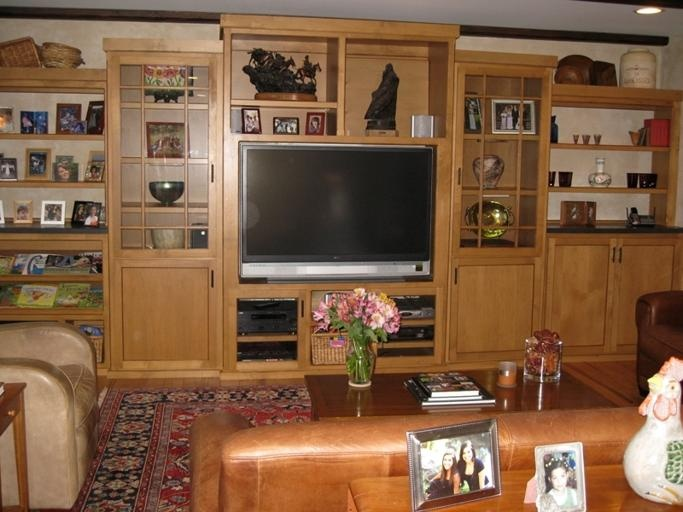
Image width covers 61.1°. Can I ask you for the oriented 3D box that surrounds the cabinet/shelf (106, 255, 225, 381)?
[{"bbox_3d":[-1.341,0.428,4.349,1.121,1.042,0.401,0,6,-3],"label":"cabinet/shelf"}]

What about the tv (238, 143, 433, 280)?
[{"bbox_3d":[-0.100,-0.376,4.396,1.277,0.702,0.046,0,8,-6],"label":"tv"}]

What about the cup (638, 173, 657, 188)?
[{"bbox_3d":[2.654,-0.658,5.019,0.132,0.097,0.141,2,5,0],"label":"cup"}]

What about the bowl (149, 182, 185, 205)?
[{"bbox_3d":[-1.316,-0.479,4.372,0.226,0.124,0.205,0,6,-6],"label":"bowl"}]

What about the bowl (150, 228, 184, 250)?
[{"bbox_3d":[-1.309,-0.125,4.381,0.218,0.125,0.175,1,1,-18],"label":"bowl"}]

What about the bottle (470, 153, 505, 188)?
[{"bbox_3d":[1.163,-0.674,4.640,0.282,0.229,0.276,-10,14,-42],"label":"bottle"}]

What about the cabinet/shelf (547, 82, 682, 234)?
[{"bbox_3d":[2.374,-0.889,5.074,1.653,1.313,0.437,0,19,4],"label":"cabinet/shelf"}]

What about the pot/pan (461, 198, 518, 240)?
[{"bbox_3d":[1.202,-0.290,4.675,0.384,0.322,0.120,6,1,-9],"label":"pot/pan"}]

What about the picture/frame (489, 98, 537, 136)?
[{"bbox_3d":[1.346,-1.116,4.619,0.379,0.226,0.028,0,2,-12],"label":"picture/frame"}]

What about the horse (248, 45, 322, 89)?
[{"bbox_3d":[-0.449,-1.441,4.518,0.547,0.364,0.576,1,12,2],"label":"horse"}]

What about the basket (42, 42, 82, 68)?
[{"bbox_3d":[-2.138,-1.523,4.467,0.279,0.125,0.231,2,5,-13],"label":"basket"}]

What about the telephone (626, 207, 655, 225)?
[{"bbox_3d":[2.583,-0.337,5.039,0.238,0.126,0.217,-1,8,8],"label":"telephone"}]

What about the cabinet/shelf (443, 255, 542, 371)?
[{"bbox_3d":[1.136,0.422,4.490,1.089,0.897,0.344,0,7,-4],"label":"cabinet/shelf"}]

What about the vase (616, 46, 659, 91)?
[{"bbox_3d":[2.607,-1.640,5.071,0.313,0.293,0.307,8,23,30],"label":"vase"}]

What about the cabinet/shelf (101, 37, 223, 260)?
[{"bbox_3d":[-1.298,-0.783,4.287,0.839,1.580,0.352,-1,14,-9],"label":"cabinet/shelf"}]

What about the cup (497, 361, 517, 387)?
[{"bbox_3d":[0.896,0.646,3.204,0.145,0.136,0.133,0,6,0],"label":"cup"}]

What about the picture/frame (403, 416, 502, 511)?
[{"bbox_3d":[0.318,0.611,1.661,0.289,0.191,0.020,-2,-5,-23],"label":"picture/frame"}]

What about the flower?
[{"bbox_3d":[0.031,0.383,3.269,0.665,0.552,0.607,-1,4,-5],"label":"flower"}]

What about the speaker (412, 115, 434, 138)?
[{"bbox_3d":[0.618,-0.988,4.478,0.200,0.161,0.177,1,3,-6],"label":"speaker"}]

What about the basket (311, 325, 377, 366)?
[{"bbox_3d":[-0.012,0.704,4.433,0.595,0.326,0.312,0,3,-5],"label":"basket"}]

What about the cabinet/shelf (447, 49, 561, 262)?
[{"bbox_3d":[1.259,-0.783,4.570,0.807,1.589,0.418,1,14,1],"label":"cabinet/shelf"}]

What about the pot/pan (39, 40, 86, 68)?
[{"bbox_3d":[-2.121,-1.522,4.406,0.255,0.131,0.268,-2,12,-29],"label":"pot/pan"}]
